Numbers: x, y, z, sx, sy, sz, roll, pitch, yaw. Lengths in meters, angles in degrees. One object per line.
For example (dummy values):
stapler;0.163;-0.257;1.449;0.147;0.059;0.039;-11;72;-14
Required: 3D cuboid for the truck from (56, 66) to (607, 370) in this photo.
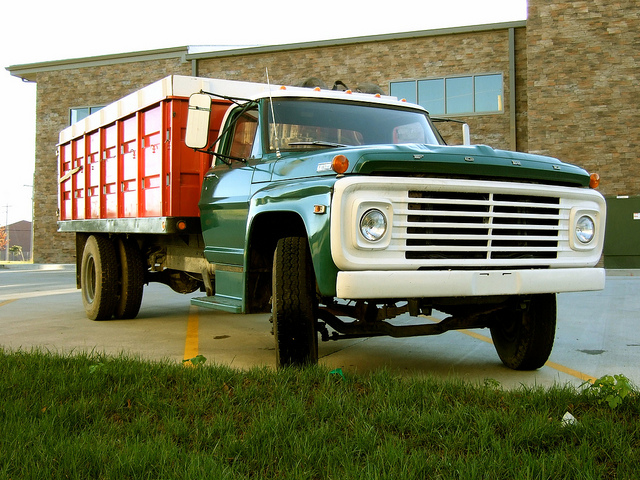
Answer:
truck;-0.867;-0.278;7.859;3.806;2.794;7.551;1;-1;-28
